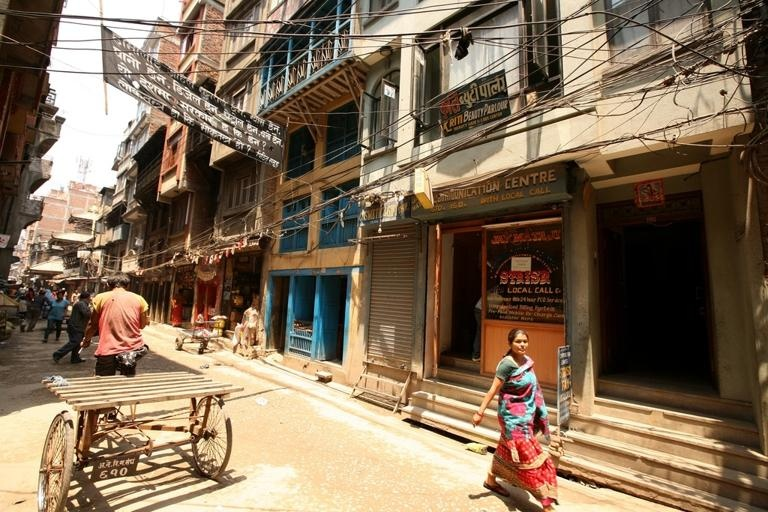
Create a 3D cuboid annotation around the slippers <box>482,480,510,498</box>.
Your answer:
[{"bbox_3d":[2.104,4.364,9.360,0.450,0.103,0.172,3,7,-14],"label":"slippers"}]

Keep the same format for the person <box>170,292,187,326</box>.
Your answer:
[{"bbox_3d":[-10.514,2.628,25.604,0.528,1.798,1.213,6,-8,-28],"label":"person"}]

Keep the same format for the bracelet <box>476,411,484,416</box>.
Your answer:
[{"bbox_3d":[1.722,2.821,8.978,0.094,0.022,0.094,-7,16,-21],"label":"bracelet"}]
